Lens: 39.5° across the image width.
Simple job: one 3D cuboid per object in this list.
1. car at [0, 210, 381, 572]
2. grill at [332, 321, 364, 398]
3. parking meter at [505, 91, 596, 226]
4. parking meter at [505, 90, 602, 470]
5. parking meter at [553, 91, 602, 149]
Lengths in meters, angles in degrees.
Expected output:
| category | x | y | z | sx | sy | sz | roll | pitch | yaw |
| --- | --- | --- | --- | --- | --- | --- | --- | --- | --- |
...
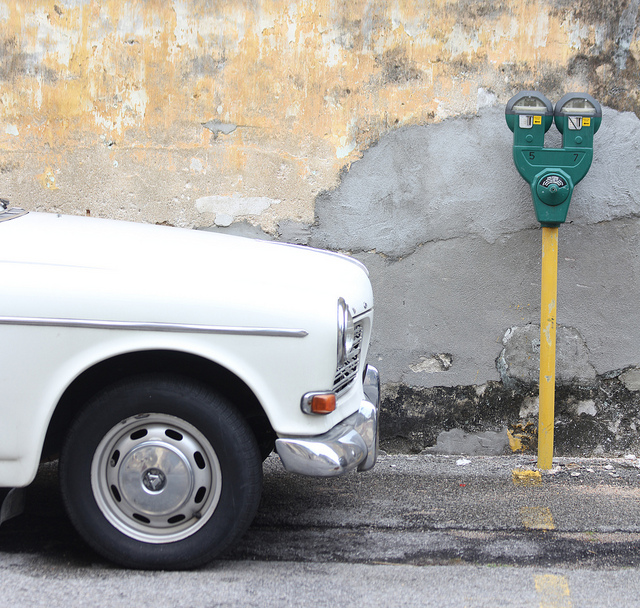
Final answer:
| category | x | y | z | sx | sy | sz | roll | pitch | yaw |
| --- | --- | --- | --- | --- | --- | --- | --- | --- | --- |
| car | -0.569 | 0.370 | 4.097 | 1.735 | 1.036 | 1.132 | 0 | 0 | 6 |
| grill | 0.129 | 0.257 | 4.038 | 0.061 | 0.267 | 0.279 | 9 | -23 | 11 |
| parking meter | 1.297 | -0.794 | 4.978 | 0.508 | 0.858 | 0.245 | 3 | -13 | 8 |
| parking meter | 1.299 | -0.063 | 5.044 | 0.517 | 2.333 | 0.342 | 5 | 7 | 28 |
| parking meter | 1.433 | -0.981 | 4.975 | 0.230 | 0.380 | 0.202 | 2 | 5 | 18 |
